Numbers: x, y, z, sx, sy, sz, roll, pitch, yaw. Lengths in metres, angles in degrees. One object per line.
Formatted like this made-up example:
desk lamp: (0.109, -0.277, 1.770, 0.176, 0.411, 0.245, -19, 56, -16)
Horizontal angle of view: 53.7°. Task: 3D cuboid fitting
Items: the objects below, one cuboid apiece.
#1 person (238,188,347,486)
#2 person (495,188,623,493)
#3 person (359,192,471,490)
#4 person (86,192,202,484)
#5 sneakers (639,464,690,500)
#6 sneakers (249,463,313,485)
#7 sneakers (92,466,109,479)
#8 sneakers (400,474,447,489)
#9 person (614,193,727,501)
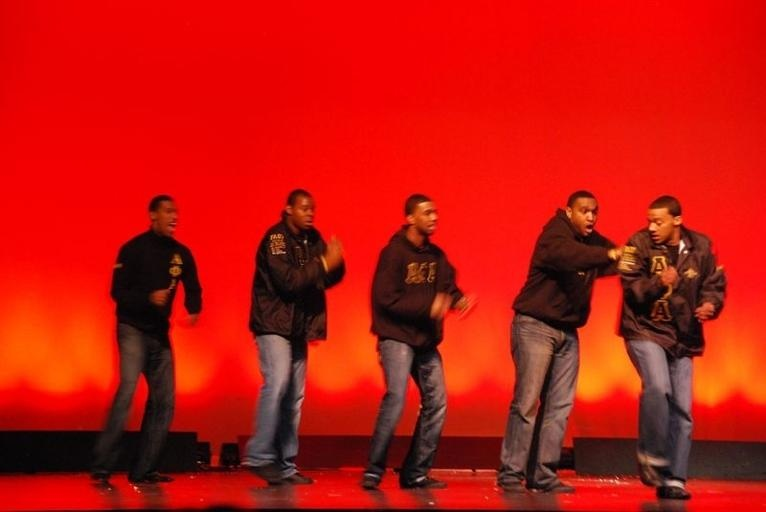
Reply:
person: (-0.646, 0.560, 5.409, 0.638, 2.002, 0.855, 7, -24, -5)
person: (1.218, 0.563, 5.226, 0.605, 1.998, 1.090, 8, -24, -8)
person: (0.238, 0.607, 5.320, 0.619, 1.968, 0.767, 2, -24, 5)
person: (-1.684, 0.603, 5.473, 0.628, 2.040, 0.673, 8, -24, -9)
sneakers: (1.899, 1.533, 5.123, 0.306, 0.233, 0.220, 10, -24, -14)
sneakers: (-0.734, 1.514, 5.365, 0.499, 0.189, 0.160, 2, -4, -22)
sneakers: (-1.974, 1.524, 5.324, 0.128, 0.098, 0.056, 0, -24, 9)
sneakers: (0.293, 1.574, 5.350, 0.312, 0.112, 0.109, -1, -10, -4)
person: (1.916, 0.617, 5.204, 0.689, 1.967, 0.664, 18, -27, -28)
